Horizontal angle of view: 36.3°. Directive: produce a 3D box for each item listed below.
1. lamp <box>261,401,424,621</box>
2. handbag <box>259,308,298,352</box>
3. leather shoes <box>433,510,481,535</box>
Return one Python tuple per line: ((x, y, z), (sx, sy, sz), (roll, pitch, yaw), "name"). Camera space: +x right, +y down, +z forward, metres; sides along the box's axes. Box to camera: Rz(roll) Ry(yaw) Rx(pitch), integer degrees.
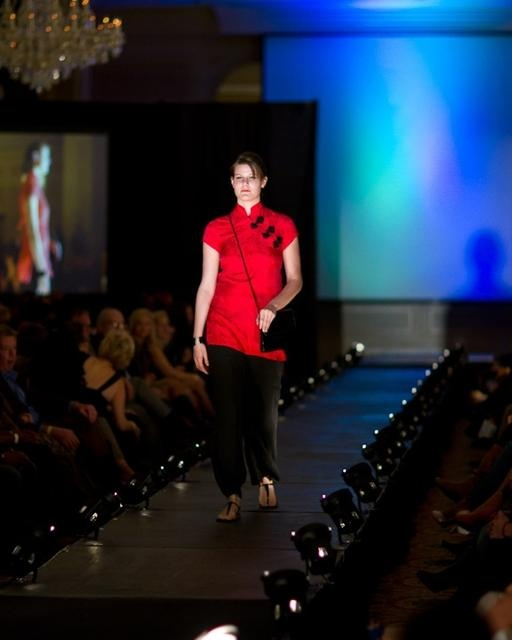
((0.322, 0.682, 2.864), (0.102, 0.141, 1.019), (-33, 5, 29), "lamp")
((0.075, 0.035, 2.865), (0.062, 0.144, 0.217), (5, 15, 34), "handbag")
((0.655, 0.676, 2.599), (0.032, 0.040, 0.116), (42, -10, -32), "leather shoes")
